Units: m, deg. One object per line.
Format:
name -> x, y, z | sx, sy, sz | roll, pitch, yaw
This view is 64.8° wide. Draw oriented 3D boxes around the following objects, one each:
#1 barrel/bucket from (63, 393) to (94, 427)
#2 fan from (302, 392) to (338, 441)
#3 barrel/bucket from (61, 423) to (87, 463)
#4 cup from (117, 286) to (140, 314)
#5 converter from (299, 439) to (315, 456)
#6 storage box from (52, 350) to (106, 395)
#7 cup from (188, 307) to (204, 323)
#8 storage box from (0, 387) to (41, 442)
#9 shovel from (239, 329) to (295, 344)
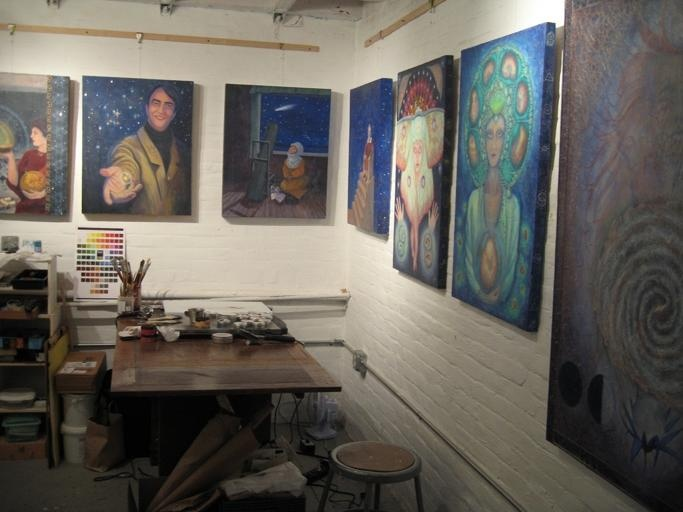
barrel/bucket -> -2.193, 1.297, 4.573 | 0.247, 0.288, 0.269 | -1, -3, 0
fan -> -0.176, 1.525, 5.180 | 0.361, 0.517, 0.386 | 1, 1, -2
barrel/bucket -> -2.241, 1.554, 4.477 | 0.273, 0.322, 0.110 | 3, 9, 25
cup -> -1.720, 0.375, 4.471 | 0.127, 0.240, 0.235 | 1, 0, -5
converter -> -0.273, 1.598, 4.444 | 0.138, 0.154, 0.146 | 1, 2, -12
storage box -> -2.254, 1.005, 4.679 | 0.300, 0.173, 0.700 | 4, 5, -18
cup -> -1.050, 0.419, 3.857 | 0.103, 0.100, 0.082 | 2, 5, 23
storage box -> -2.688, 1.311, 4.502 | 0.331, 0.396, 0.265 | -3, 9, -18
shovel -> -0.532, 0.555, 3.712 | 0.270, 0.058, 0.156 | 1, 4, -23
